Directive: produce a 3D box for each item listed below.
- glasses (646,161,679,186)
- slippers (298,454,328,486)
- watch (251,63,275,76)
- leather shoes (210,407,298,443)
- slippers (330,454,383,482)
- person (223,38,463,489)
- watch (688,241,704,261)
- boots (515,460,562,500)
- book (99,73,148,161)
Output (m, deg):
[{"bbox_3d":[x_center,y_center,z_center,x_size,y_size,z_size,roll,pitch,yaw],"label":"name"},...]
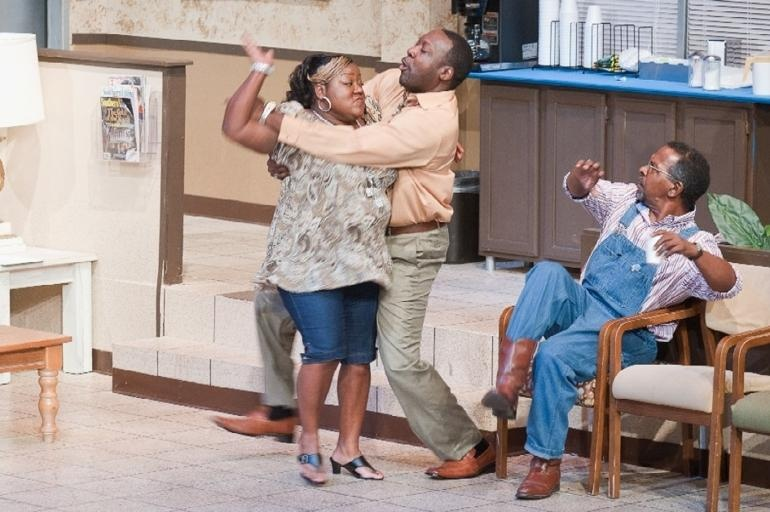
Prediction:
[{"bbox_3d":[1.321,-0.390,5.230,0.037,0.121,0.123,-45,14,-3],"label":"glasses"},{"bbox_3d":[-0.343,1.007,5.227,0.091,0.071,0.209,-3,10,-24],"label":"slippers"},{"bbox_3d":[-0.550,-0.833,4.909,0.082,0.036,0.066,4,20,-11],"label":"watch"},{"bbox_3d":[-0.597,0.830,5.410,0.488,0.143,0.148,6,-2,-10],"label":"leather shoes"},{"bbox_3d":[-0.134,1.038,5.389,0.300,0.084,0.107,2,7,11],"label":"slippers"},{"bbox_3d":[-0.142,0.025,5.222,1.161,2.146,0.463,-2,14,-4],"label":"person"},{"bbox_3d":[1.415,-0.021,4.985,0.080,0.083,0.107,8,6,17],"label":"watch"},{"bbox_3d":[0.710,1.032,5.118,0.116,0.184,0.187,10,16,40],"label":"boots"},{"bbox_3d":[-1.693,-0.888,7.166,0.348,0.540,0.126,6,15,29],"label":"book"}]
